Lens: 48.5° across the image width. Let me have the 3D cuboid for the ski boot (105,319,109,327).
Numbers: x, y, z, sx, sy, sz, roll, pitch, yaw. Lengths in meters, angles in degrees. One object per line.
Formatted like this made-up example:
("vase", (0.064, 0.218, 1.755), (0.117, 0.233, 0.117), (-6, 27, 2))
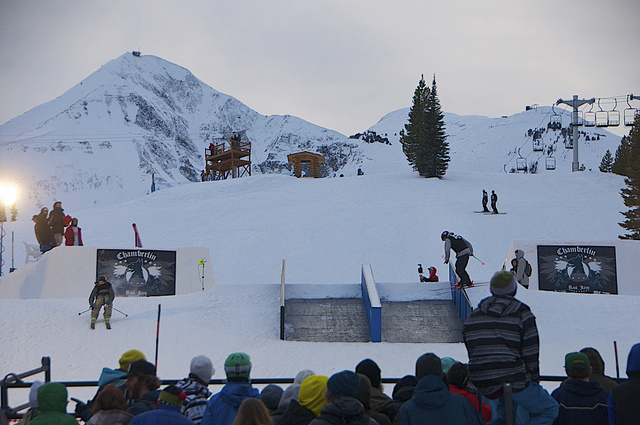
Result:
("ski boot", (-8.702, 4.527, 29.079), (0.097, 0.307, 0.185), (0, -5, 8))

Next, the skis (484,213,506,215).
("skis", (11.634, 0.084, 47.715), (1.295, 0.158, 0.077), (5, 4, 0))

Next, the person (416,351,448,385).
("person", (3.210, 4.480, 20.759), (0.721, 0.877, 1.047), (0, -20, 2))

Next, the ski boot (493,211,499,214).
("ski boot", (11.782, -0.027, 47.793), (0.244, 0.148, 0.151), (5, -2, 2))

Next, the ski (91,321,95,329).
("ski", (-9.273, 4.626, 28.955), (0.122, 0.240, 0.199), (-2, -5, 25))

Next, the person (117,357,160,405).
("person", (-5.380, 5.016, 21.219), (1.251, 1.458, 0.936), (-5, -8, -3))
